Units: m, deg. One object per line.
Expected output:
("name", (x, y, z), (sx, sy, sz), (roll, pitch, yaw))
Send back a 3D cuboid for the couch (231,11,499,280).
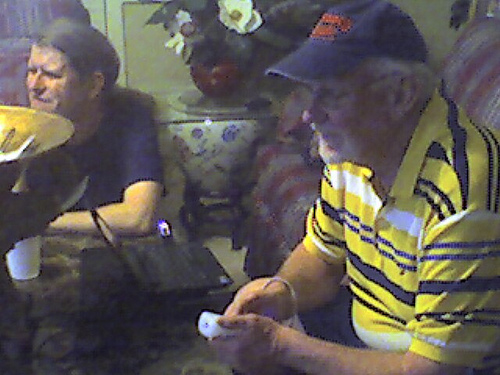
("couch", (0.944, -0.265, 9.384), (0.660, 2.633, 1.426), (9, 29, -30))
